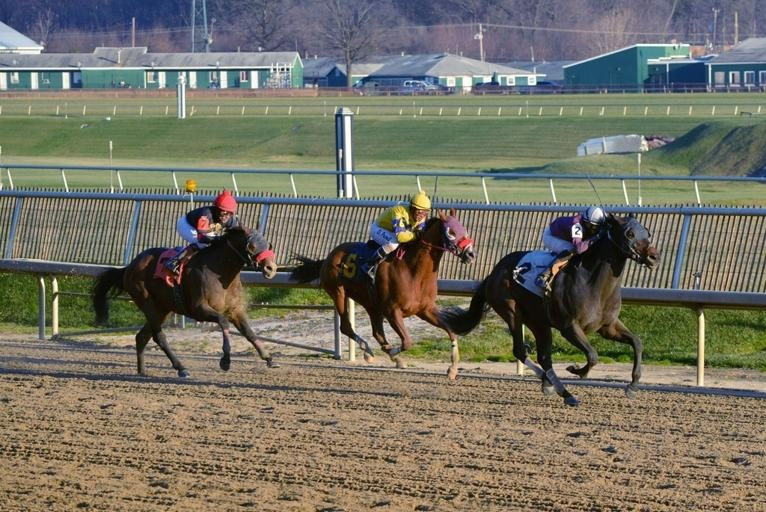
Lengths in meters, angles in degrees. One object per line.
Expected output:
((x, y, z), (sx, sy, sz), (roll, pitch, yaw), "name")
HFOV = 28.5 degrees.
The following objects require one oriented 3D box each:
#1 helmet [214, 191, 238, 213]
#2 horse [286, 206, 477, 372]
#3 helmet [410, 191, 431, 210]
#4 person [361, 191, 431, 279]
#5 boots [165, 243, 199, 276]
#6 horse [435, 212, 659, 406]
((-3.071, -1.075, 29.181), (0.337, 0.313, 0.445), (-12, 35, -40), "helmet")
((-0.312, 0.567, 30.161), (1.235, 3.278, 5.408), (1, 6, -43), "horse")
((0.713, -1.095, 29.153), (0.380, 0.362, 0.276), (-2, 7, 3), "helmet")
((0.207, -0.502, 29.331), (0.991, 1.836, 0.733), (24, 3, 30), "person")
((-3.878, -0.017, 29.262), (0.861, 0.373, 0.319), (-28, 1, 3), "boots")
((2.977, 0.944, 29.605), (1.372, 3.866, 5.947), (1, 4, -40), "horse")
